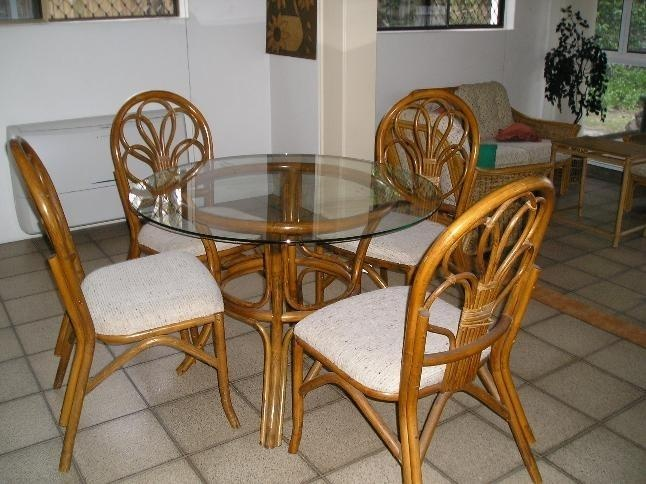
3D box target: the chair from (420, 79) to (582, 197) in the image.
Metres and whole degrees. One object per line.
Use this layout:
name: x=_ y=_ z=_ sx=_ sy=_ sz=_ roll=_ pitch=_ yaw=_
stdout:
chair: x=1.848 y=-1.034 z=4.842 sx=1.353 sy=1.111 sz=0.978 roll=-14 pitch=25 yaw=-43

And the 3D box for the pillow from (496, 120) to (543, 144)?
pillow: x=1.894 y=-1.059 z=4.678 sx=0.287 sy=0.104 sz=0.299 roll=-1 pitch=31 yaw=9
